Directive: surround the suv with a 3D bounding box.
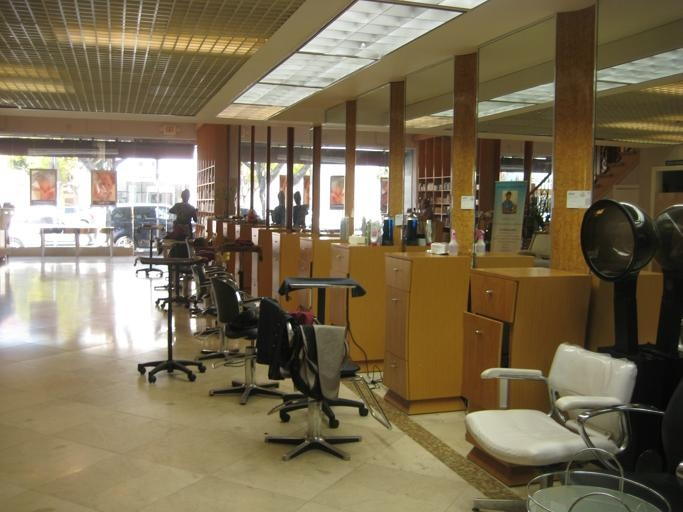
[{"bbox_3d":[-5.286,-0.876,16.563,3.166,1.643,1.735,-6,6,-13],"label":"suv"}]

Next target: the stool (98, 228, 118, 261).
[{"bbox_3d":[-7.008,-0.415,16.617,0.392,0.844,0.429,-2,8,-23],"label":"stool"}]

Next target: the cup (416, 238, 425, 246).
[{"bbox_3d":[0.856,-0.135,6.016,0.085,0.063,0.064,0,5,-3],"label":"cup"}]

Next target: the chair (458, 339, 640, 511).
[{"bbox_3d":[1.320,0.930,3.801,1.049,1.216,1.084,2,-4,-12],"label":"chair"}]

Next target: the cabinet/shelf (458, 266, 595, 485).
[{"bbox_3d":[1.412,0.893,4.453,0.639,1.473,0.802,2,2,-11],"label":"cabinet/shelf"}]

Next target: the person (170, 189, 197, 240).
[{"bbox_3d":[-3.258,-0.584,11.326,0.538,1.489,0.431,4,-33,-14],"label":"person"}]

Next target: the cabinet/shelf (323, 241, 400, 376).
[{"bbox_3d":[0.270,0.419,6.245,0.769,1.201,0.706,0,-16,23],"label":"cabinet/shelf"}]
